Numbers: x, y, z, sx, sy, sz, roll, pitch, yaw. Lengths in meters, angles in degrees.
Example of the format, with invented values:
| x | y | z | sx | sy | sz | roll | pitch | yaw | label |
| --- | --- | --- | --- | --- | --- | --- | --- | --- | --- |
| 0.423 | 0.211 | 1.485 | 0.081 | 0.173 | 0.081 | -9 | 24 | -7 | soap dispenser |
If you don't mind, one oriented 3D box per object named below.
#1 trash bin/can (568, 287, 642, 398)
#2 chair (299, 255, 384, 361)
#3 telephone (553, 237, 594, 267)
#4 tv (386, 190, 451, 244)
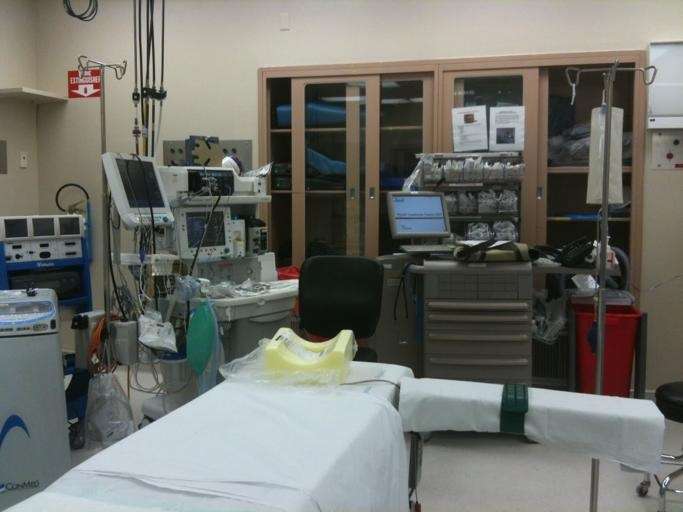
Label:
| x | y | z | sx | sy | sz | roll | pitch | yaw | label |
| --- | --- | --- | --- | --- | --- | --- | --- | --- | --- |
| 1.692 | 0.558 | 4.611 | 0.541 | 0.863 | 0.565 | 1 | 2 | 19 | trash bin/can |
| 0.055 | 0.303 | 4.241 | 0.467 | 0.756 | 0.572 | 1 | 4 | 8 | chair |
| 1.457 | -0.043 | 4.197 | 0.214 | 0.151 | 0.338 | 5 | 16 | 17 | telephone |
| 0.503 | -0.279 | 4.462 | 0.429 | 0.310 | 0.230 | -4 | 15 | -18 | tv |
